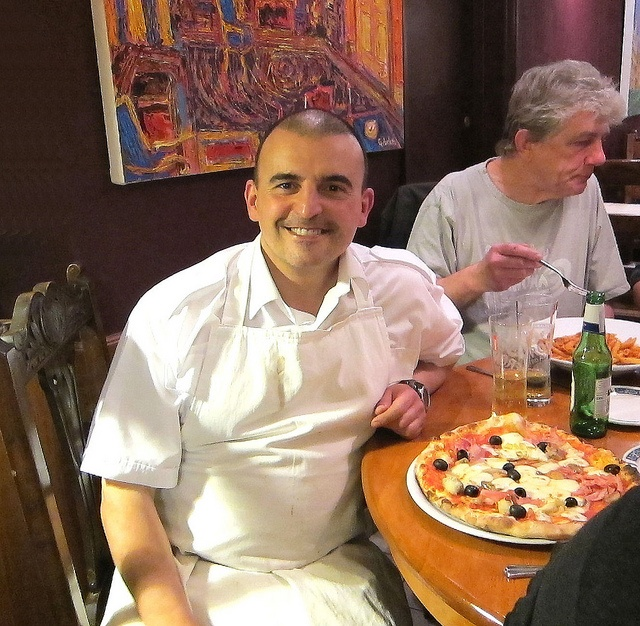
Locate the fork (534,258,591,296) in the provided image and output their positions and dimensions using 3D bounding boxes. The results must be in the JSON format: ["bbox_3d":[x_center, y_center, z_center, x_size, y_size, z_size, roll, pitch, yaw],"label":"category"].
[{"bbox_3d":[0.860,-0.130,2.063,0.034,0.234,0.034,-51,8,-9],"label":"fork"}]

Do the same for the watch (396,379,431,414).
[{"bbox_3d":[0.214,0.186,1.325,0.017,0.068,0.063,-36,57,-4],"label":"watch"}]

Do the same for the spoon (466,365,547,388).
[{"bbox_3d":[0.452,0.157,1.448,0.039,0.015,0.268,-52,26,-18],"label":"spoon"}]
